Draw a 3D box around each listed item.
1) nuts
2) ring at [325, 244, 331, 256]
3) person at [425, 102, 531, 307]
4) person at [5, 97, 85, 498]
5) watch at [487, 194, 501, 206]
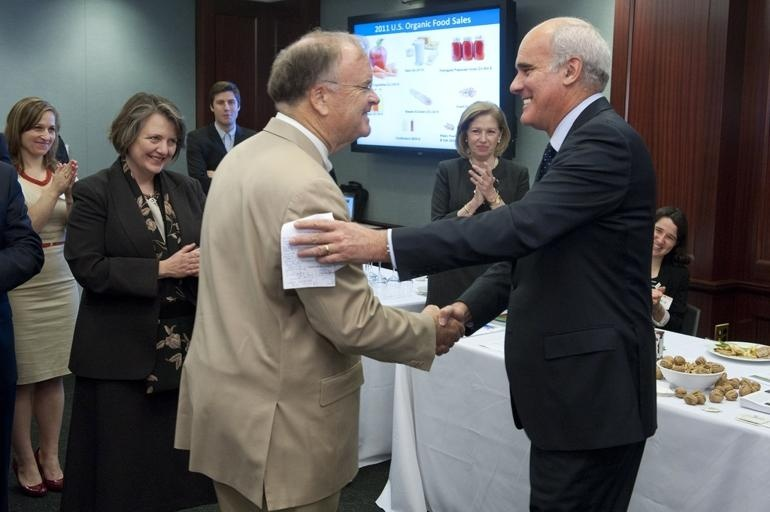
[{"bbox_3d":[1.314,0.494,2.284,0.379,0.118,0.288,1,10,-1],"label":"nuts"},{"bbox_3d":[-0.159,-0.017,1.553,0.018,0.022,0.018,-1,8,0],"label":"ring"},{"bbox_3d":[0.525,-0.042,3.413,0.566,1.728,0.528,4,11,14],"label":"person"},{"bbox_3d":[-1.950,0.287,3.240,0.490,2.588,0.640,-1,14,-27],"label":"person"},{"bbox_3d":[0.590,-0.297,3.046,0.057,0.070,0.034,-22,41,-27],"label":"watch"}]
